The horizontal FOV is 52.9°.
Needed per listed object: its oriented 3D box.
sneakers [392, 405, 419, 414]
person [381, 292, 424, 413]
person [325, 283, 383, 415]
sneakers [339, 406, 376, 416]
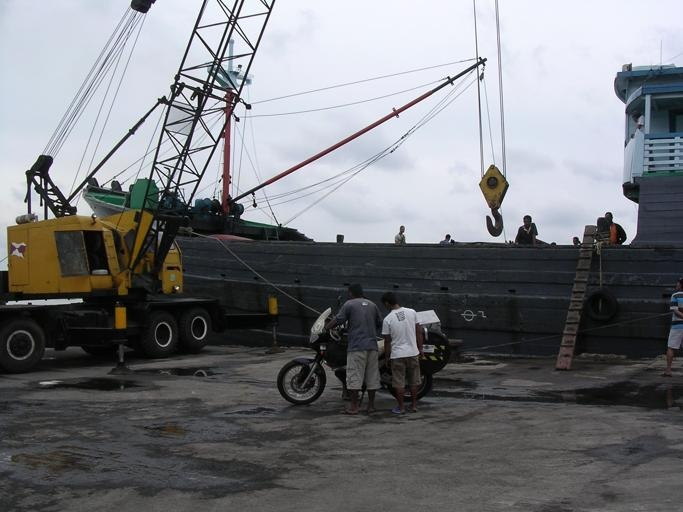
[{"bbox_3d":[0.925,2.216,9.854,0.381,0.122,0.122,3,-5,-4],"label":"sneakers"},{"bbox_3d":[0.882,1.401,9.967,0.637,1.732,0.367,3,-6,-11],"label":"person"},{"bbox_3d":[0.214,1.437,9.991,0.809,1.639,0.482,3,-5,-7],"label":"person"},{"bbox_3d":[0.270,2.230,9.847,0.452,0.096,0.165,9,-13,-38],"label":"sneakers"}]
